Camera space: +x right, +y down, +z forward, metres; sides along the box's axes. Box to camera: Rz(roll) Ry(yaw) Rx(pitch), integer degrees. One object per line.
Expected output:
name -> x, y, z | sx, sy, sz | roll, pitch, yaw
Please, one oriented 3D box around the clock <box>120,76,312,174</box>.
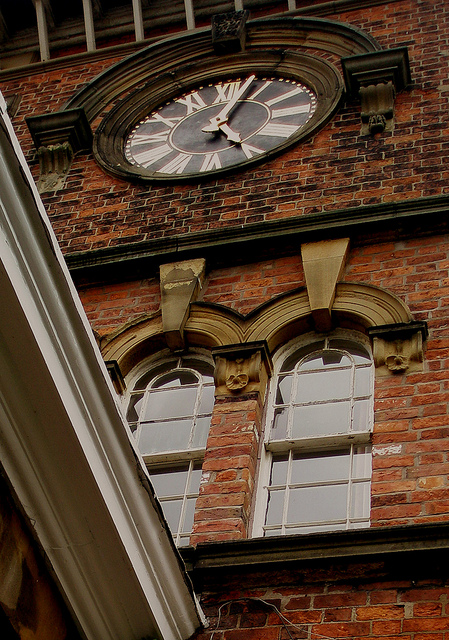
clock -> -0.052, -1.851, 15.495 | 1.963, 1.842, 0.127 | 2, -53, 23
